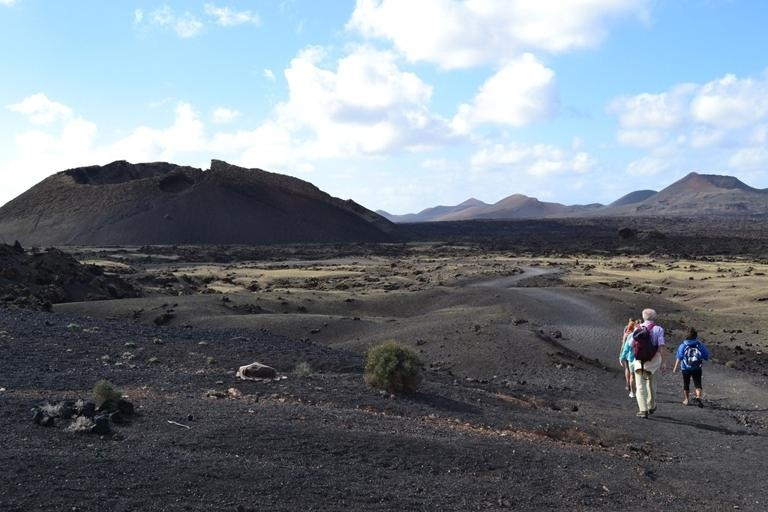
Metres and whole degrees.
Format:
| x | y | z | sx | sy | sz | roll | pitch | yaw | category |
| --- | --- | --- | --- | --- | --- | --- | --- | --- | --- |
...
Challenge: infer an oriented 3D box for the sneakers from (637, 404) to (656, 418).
| x | y | z | sx | sy | sz | roll | pitch | yaw | category |
| --- | --- | --- | --- | --- | --- | --- | --- | --- | --- |
| 5.733 | 3.394 | 12.066 | 0.463 | 0.173 | 0.178 | -21 | 22 | -32 | sneakers |

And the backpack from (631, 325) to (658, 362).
| x | y | z | sx | sy | sz | roll | pitch | yaw | category |
| --- | --- | --- | --- | --- | --- | --- | --- | --- | --- |
| 5.526 | 1.867 | 11.680 | 0.518 | 0.621 | 0.181 | 10 | 6 | 22 | backpack |

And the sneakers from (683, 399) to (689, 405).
| x | y | z | sx | sy | sz | roll | pitch | yaw | category |
| --- | --- | --- | --- | --- | --- | --- | --- | --- | --- |
| 7.028 | 3.377 | 12.851 | 0.101 | 0.080 | 0.210 | -6 | 1 | 26 | sneakers |

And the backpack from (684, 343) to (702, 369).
| x | y | z | sx | sy | sz | roll | pitch | yaw | category |
| --- | --- | --- | --- | --- | --- | --- | --- | --- | --- |
| 7.021 | 2.272 | 12.545 | 0.401 | 0.483 | 0.201 | 10 | 6 | 21 | backpack |

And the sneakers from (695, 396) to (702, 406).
| x | y | z | sx | sy | sz | roll | pitch | yaw | category |
| --- | --- | --- | --- | --- | --- | --- | --- | --- | --- |
| 7.286 | 3.348 | 12.770 | 0.093 | 0.250 | 0.119 | -33 | -16 | 36 | sneakers |
